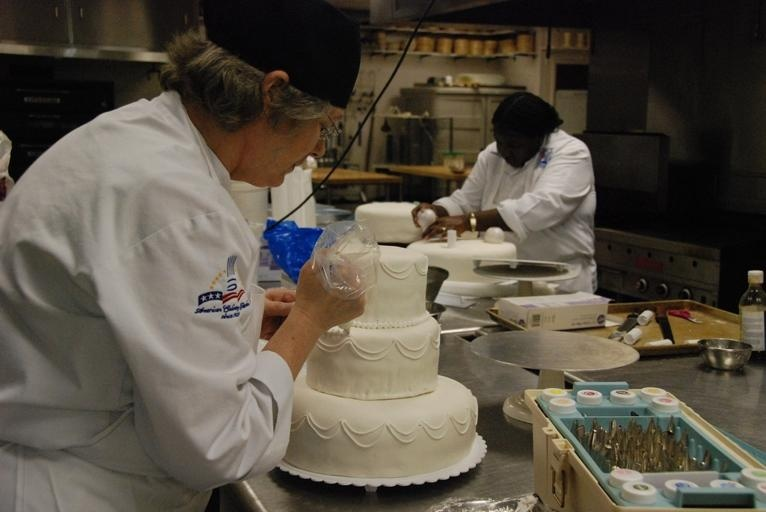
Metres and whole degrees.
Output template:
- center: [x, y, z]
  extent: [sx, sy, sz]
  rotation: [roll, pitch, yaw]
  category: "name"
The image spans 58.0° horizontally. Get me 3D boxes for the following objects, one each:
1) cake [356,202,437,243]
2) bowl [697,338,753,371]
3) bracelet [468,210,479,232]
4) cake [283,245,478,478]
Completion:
- center: [0.026, -0.199, 3.969]
  extent: [0.301, 0.159, 0.324]
  rotation: [1, 9, 1]
  category: "cake"
- center: [1.124, 0.325, 2.249]
  extent: [0.193, 0.082, 0.111]
  rotation: [1, 9, 2]
  category: "bowl"
- center: [0.480, -0.181, 3.806]
  extent: [0.033, 0.085, 0.077]
  rotation: [0, 8, -4]
  category: "bracelet"
- center: [-0.029, 0.216, 1.887]
  extent: [0.551, 0.475, 0.543]
  rotation: [-3, 10, -29]
  category: "cake"
